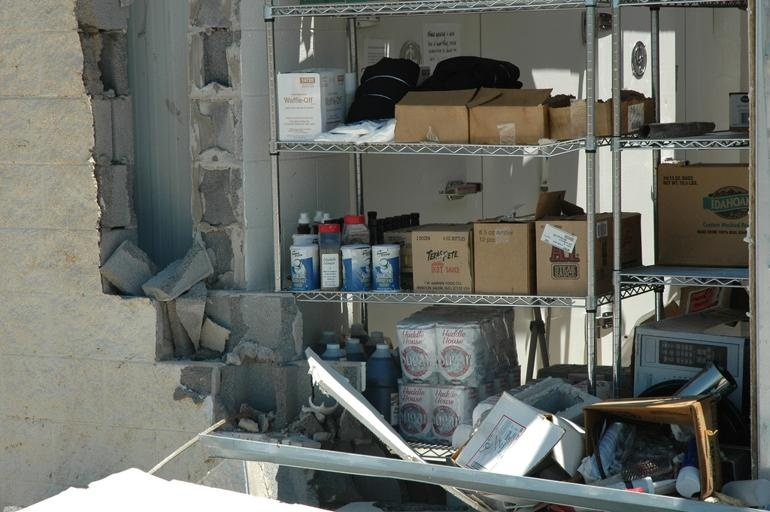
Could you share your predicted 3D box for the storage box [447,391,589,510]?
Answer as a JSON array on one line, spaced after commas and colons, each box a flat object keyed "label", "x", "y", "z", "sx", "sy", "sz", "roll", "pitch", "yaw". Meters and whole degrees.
[{"label": "storage box", "x": 0.636, "y": 0.887, "z": 5.117, "sx": 0.474, "sy": 0.469, "sz": 0.176, "roll": 16, "pitch": -26, "yaw": 35}]

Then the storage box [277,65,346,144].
[{"label": "storage box", "x": -0.397, "y": -0.863, "z": 5.814, "sx": 0.384, "sy": 0.365, "sz": 0.300, "roll": 2, "pitch": 23, "yaw": 24}]

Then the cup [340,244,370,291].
[{"label": "cup", "x": -0.153, "y": 0.058, "z": 5.726, "sx": 0.223, "sy": 0.334, "sz": 0.217, "roll": 0, "pitch": 1, "yaw": 0}]

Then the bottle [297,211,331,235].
[{"label": "bottle", "x": -0.412, "y": -0.180, "z": 5.866, "sx": 0.152, "sy": 0.132, "sz": 0.151, "roll": -2, "pitch": 3, "yaw": -31}]

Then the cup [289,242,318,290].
[{"label": "cup", "x": -0.449, "y": 0.046, "z": 5.832, "sx": 0.167, "sy": 0.284, "sz": 0.171, "roll": 1, "pitch": 4, "yaw": 0}]

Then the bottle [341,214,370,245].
[{"label": "bottle", "x": -0.157, "y": -0.141, "z": 5.879, "sx": 0.150, "sy": 0.150, "sz": 0.146, "roll": -1, "pitch": 5, "yaw": 11}]

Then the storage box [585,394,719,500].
[{"label": "storage box", "x": 1.252, "y": 0.848, "z": 4.974, "sx": 0.637, "sy": 0.420, "sz": 0.305, "roll": 6, "pitch": 12, "yaw": 24}]

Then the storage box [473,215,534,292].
[{"label": "storage box", "x": 0.625, "y": -0.019, "z": 5.601, "sx": 0.345, "sy": 0.516, "sz": 0.376, "roll": 0, "pitch": 3, "yaw": 18}]

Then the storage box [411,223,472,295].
[{"label": "storage box", "x": 0.307, "y": 0.012, "z": 5.682, "sx": 0.330, "sy": 0.344, "sz": 0.325, "roll": 1, "pitch": 7, "yaw": 18}]

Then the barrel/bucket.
[{"label": "barrel/bucket", "x": -0.072, "y": 0.670, "z": 5.809, "sx": 0.533, "sy": 0.577, "sz": 0.314, "roll": -1, "pitch": 3, "yaw": -9}]

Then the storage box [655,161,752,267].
[{"label": "storage box", "x": 1.712, "y": -0.231, "z": 5.836, "sx": 0.620, "sy": 0.556, "sz": 0.505, "roll": -3, "pitch": 3, "yaw": -19}]
